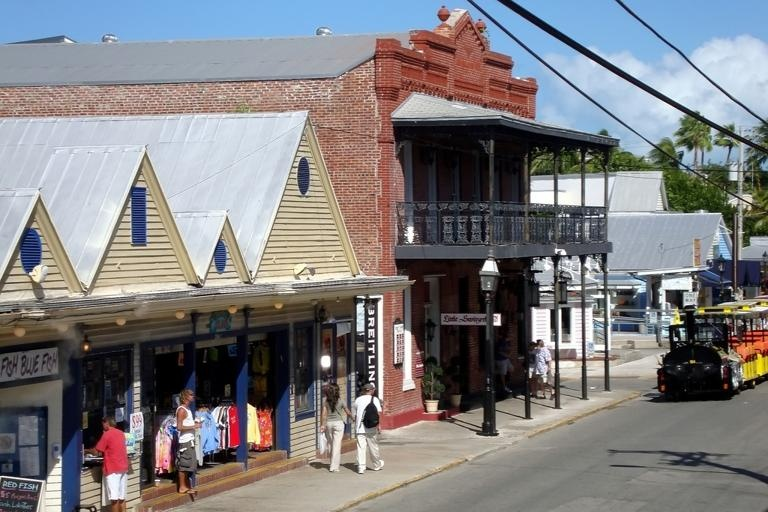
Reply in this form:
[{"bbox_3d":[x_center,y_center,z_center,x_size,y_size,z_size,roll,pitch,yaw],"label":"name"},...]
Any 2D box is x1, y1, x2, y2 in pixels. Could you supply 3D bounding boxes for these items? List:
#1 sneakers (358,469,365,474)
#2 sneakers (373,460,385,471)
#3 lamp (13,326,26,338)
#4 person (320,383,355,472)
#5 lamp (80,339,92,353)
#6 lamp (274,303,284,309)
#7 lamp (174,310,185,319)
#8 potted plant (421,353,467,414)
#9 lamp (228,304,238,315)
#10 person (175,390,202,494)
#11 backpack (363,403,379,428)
[{"bbox_3d":[-0.523,5.271,27.837,0.129,0.084,0.111,1,-4,-2],"label":"sneakers"},{"bbox_3d":[-0.098,5.181,28.140,0.255,0.101,0.254,-12,7,26],"label":"sneakers"},{"bbox_3d":[-6.916,1.464,21.859,0.213,0.207,0.250,10,-16,2],"label":"lamp"},{"bbox_3d":[-1.210,4.202,27.890,0.553,2.218,0.587,-2,4,-10],"label":"person"},{"bbox_3d":[-6.035,1.828,23.266,0.237,0.272,0.232,3,-8,-17],"label":"lamp"},{"bbox_3d":[-2.486,1.203,27.479,0.188,0.175,0.045,-4,-14,21],"label":"lamp"},{"bbox_3d":[-4.372,1.248,24.607,0.220,0.213,0.049,4,3,-17],"label":"lamp"},{"bbox_3d":[1.853,4.043,36.047,0.870,1.670,1.896,-4,-5,33],"label":"potted plant"},{"bbox_3d":[-3.455,1.220,26.264,0.250,0.234,0.057,-1,14,-17],"label":"lamp"},{"bbox_3d":[-4.339,4.194,25.187,0.432,2.490,0.485,-2,4,-13],"label":"person"},{"bbox_3d":[-0.283,3.889,27.814,0.436,0.641,0.124,-2,4,-14],"label":"backpack"}]
